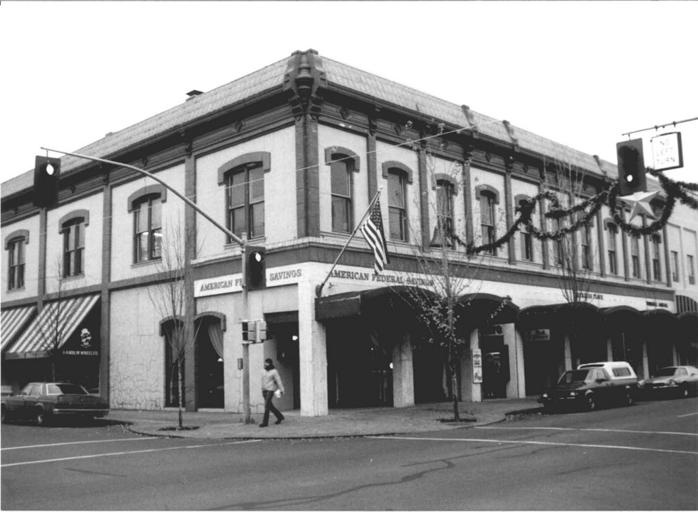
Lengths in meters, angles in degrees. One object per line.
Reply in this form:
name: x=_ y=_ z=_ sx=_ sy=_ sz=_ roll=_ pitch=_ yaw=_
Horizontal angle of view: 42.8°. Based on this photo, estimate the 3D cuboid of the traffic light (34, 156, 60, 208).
traffic light: x=-8.613 y=-2.033 z=25.473 sx=0.715 sy=1.474 sz=0.754 roll=-2 pitch=0 yaw=-20

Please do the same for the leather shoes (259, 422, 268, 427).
leather shoes: x=-2.849 y=5.667 z=29.812 sx=0.285 sy=0.124 sz=0.550 roll=-2 pitch=-1 yaw=-9

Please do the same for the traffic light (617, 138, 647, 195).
traffic light: x=7.244 y=-2.220 z=22.936 sx=0.662 sy=1.387 sz=0.687 roll=-2 pitch=0 yaw=17

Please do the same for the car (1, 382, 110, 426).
car: x=-11.329 y=5.681 z=34.086 sx=4.553 sy=1.607 sz=1.617 roll=-2 pitch=-1 yaw=29

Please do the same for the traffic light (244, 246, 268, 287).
traffic light: x=-3.249 y=0.449 z=30.815 sx=0.664 sy=1.497 sz=0.507 roll=-2 pitch=0 yaw=-17

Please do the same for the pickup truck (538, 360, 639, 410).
pickup truck: x=9.570 y=5.255 z=35.086 sx=3.404 sy=1.357 sz=1.874 roll=11 pitch=-19 yaw=-41

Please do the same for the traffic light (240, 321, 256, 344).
traffic light: x=-3.397 y=2.657 z=30.717 sx=0.499 sy=0.774 sz=0.284 roll=-2 pitch=0 yaw=-8

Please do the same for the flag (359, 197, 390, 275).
flag: x=0.955 y=-0.680 z=32.830 sx=0.736 sy=2.853 sz=1.133 roll=-2 pitch=0 yaw=19
